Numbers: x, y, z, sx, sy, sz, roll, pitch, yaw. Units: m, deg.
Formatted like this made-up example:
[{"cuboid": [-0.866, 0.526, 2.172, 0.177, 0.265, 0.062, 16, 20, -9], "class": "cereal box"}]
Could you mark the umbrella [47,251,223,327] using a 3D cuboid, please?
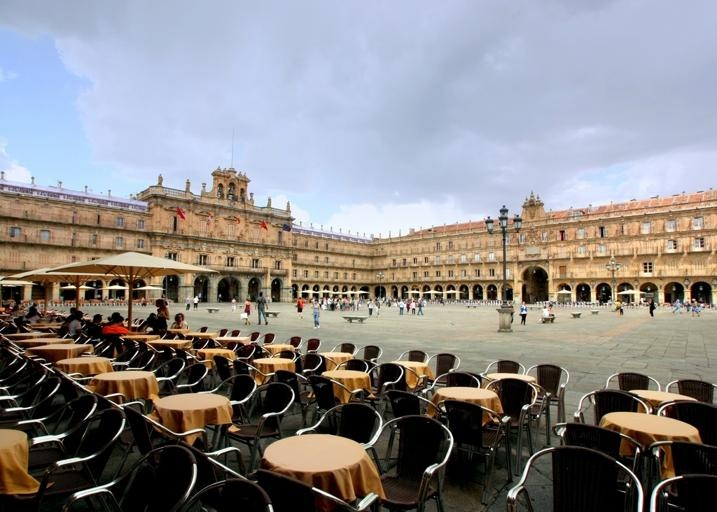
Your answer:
[{"cuboid": [-5.973, 1.016, 15.038, 3.844, 2.333, 3.490, 1, -4, -22], "class": "umbrella"}]

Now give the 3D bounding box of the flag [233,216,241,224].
[{"cuboid": [-12.672, -3.746, 61.044, 0.698, 0.637, 2.048, 5, -7, -12], "class": "flag"}]

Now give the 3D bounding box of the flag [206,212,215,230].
[{"cuboid": [-14.881, -3.584, 58.300, 0.402, 1.641, 1.276, 3, -7, 4], "class": "flag"}]

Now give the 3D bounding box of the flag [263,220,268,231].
[{"cuboid": [-10.341, -3.366, 64.495, 0.091, 1.229, 1.188, -2, 3, 16], "class": "flag"}]

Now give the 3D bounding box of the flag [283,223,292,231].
[{"cuboid": [-7.792, -2.991, 62.422, 0.916, 0.649, 0.893, -5, 3, 10], "class": "flag"}]

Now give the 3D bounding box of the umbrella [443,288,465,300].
[{"cuboid": [12.494, 4.978, 74.400, 2.060, 0.871, 1.738, -1, -6, 1], "class": "umbrella"}]

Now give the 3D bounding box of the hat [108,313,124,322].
[{"cuboid": [-5.424, 1.404, 13.160, 0.360, 0.148, 0.401, 2, -1, 9], "class": "hat"}]
